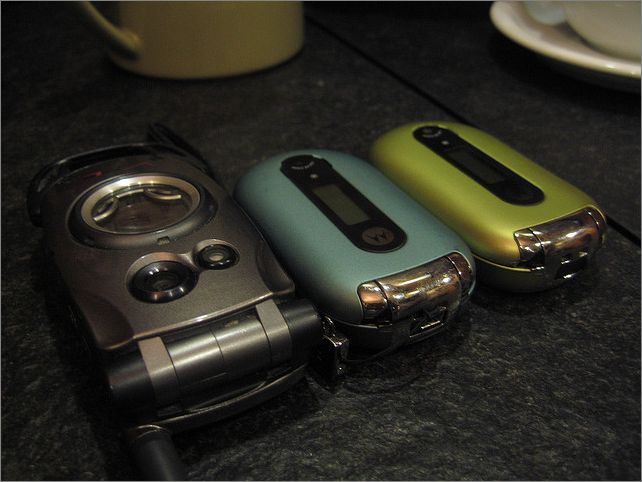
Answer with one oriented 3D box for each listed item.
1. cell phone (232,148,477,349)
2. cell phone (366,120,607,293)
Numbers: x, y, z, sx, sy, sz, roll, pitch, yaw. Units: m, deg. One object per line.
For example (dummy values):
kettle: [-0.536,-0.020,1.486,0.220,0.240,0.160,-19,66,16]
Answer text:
cell phone: [0.012,0.011,0.480,0.127,0.054,0.198,-30,50,-30]
cell phone: [0.130,-0.026,0.535,0.125,0.054,0.197,-26,49,-32]
